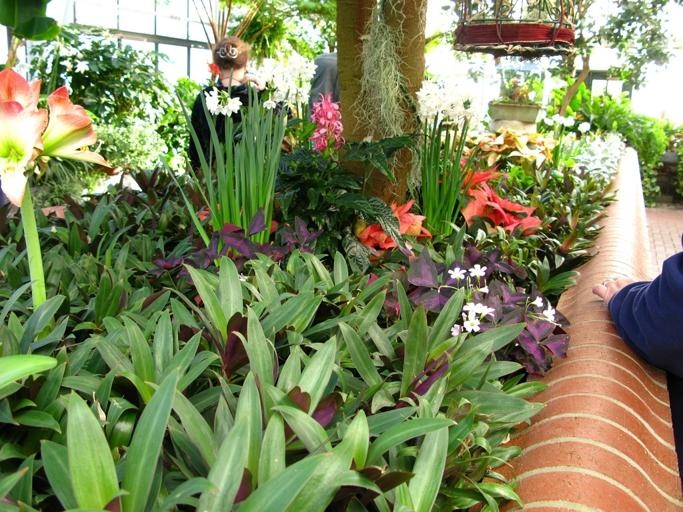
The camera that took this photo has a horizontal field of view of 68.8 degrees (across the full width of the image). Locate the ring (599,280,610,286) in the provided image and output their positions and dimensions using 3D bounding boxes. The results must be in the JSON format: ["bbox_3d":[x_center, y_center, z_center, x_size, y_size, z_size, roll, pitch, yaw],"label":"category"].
[{"bbox_3d":[0.857,0.086,1.611,0.023,0.007,0.024,-22,14,6],"label":"ring"}]
